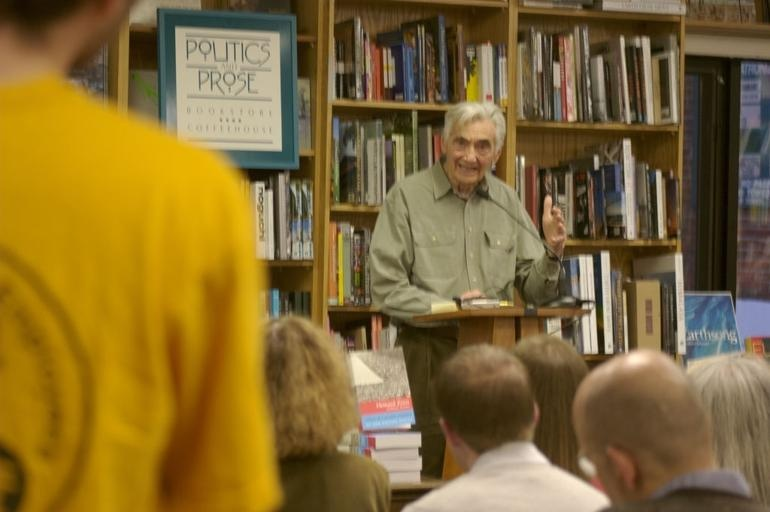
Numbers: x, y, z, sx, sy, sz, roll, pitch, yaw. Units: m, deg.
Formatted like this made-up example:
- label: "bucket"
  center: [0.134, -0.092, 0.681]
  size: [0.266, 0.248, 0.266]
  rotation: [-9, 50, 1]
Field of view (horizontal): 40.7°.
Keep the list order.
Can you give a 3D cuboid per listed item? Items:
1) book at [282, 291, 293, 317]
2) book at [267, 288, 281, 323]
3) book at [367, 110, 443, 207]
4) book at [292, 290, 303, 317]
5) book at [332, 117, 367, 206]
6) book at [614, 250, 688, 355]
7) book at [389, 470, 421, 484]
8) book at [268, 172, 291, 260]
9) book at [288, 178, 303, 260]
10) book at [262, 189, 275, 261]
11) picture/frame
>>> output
- label: "book"
  center: [-0.435, 0.208, 4.581]
  size: [0.054, 0.120, 0.110]
  rotation: [0, -2, -12]
- label: "book"
  center: [-0.450, 0.202, 4.148]
  size: [0.047, 0.155, 0.144]
  rotation: [0, 3, -3]
- label: "book"
  center: [0.062, -0.422, 4.827]
  size: [0.312, 0.509, 0.462]
  rotation: [1, -4, -12]
- label: "book"
  center: [-0.388, 0.216, 4.535]
  size: [0.050, 0.120, 0.074]
  rotation: [-1, -2, 40]
- label: "book"
  center: [-0.165, -0.419, 4.615]
  size: [0.149, 0.371, 0.094]
  rotation: [-1, 4, -3]
- label: "book"
  center: [1.239, 0.221, 4.917]
  size: [0.267, 0.455, 0.356]
  rotation: [-2, 5, -21]
- label: "book"
  center: [0.062, 0.751, 3.519]
  size: [0.075, 0.030, 0.083]
  rotation: [0, -4, -3]
- label: "book"
  center: [-0.465, -0.153, 4.541]
  size: [0.054, 0.481, 0.328]
  rotation: [-1, 0, -7]
- label: "book"
  center: [-0.399, -0.147, 4.553]
  size: [0.054, 0.252, 0.166]
  rotation: [0, 11, -4]
- label: "book"
  center: [-0.517, -0.123, 4.532]
  size: [0.044, 0.417, 0.271]
  rotation: [0, -1, -7]
- label: "picture/frame"
  center: [-0.648, -0.672, 4.178]
  size: [0.708, 0.920, 0.087]
  rotation: [0, -7, -13]
